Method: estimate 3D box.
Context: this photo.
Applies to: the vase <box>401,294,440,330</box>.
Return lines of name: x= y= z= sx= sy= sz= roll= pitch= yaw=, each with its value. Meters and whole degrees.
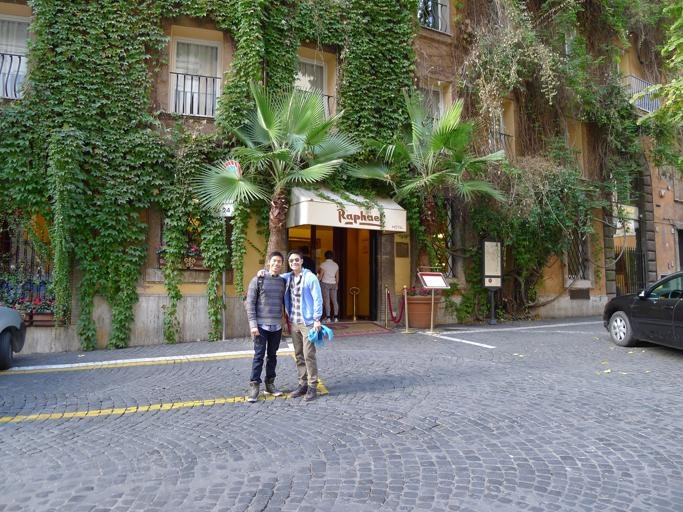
vase: x=2.212 y=1.419 z=16.516 sx=0.835 sy=0.822 sz=0.875 roll=10 pitch=5 yaw=40

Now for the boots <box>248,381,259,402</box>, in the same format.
boots: x=-1.401 y=2.095 z=9.793 sx=0.204 sy=0.324 sz=0.477 roll=-2 pitch=9 yaw=-9

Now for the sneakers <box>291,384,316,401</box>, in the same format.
sneakers: x=-0.557 y=2.144 z=9.732 sx=0.164 sy=0.249 sz=0.528 roll=-3 pitch=-16 yaw=30

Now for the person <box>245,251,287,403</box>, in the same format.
person: x=-1.181 y=1.086 z=9.731 sx=0.700 sy=2.260 sz=0.416 roll=-4 pitch=8 yaw=-21
